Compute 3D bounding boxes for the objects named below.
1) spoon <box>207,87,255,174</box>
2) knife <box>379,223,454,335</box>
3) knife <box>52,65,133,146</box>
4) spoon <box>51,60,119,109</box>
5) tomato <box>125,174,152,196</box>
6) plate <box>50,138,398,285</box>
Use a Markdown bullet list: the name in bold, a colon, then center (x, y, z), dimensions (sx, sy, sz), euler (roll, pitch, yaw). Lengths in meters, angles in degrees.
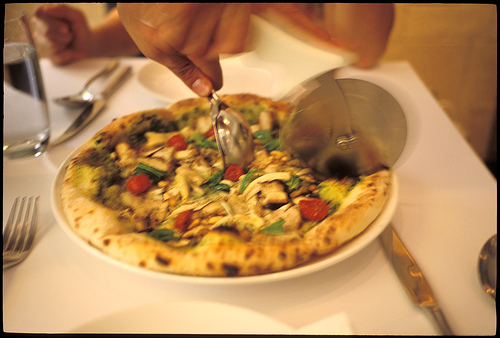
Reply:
- **spoon**: center (-0.053, -0.066, 0.823), dimensions (0.064, 0.225, 0.033), euler (-22, -2, -39)
- **knife**: center (0.271, 0.158, 0.643), dimensions (0.038, 0.013, 0.271), euler (-21, 42, 9)
- **knife**: center (-0.401, -0.173, 1.017), dimensions (0.049, 0.016, 0.328), euler (17, 42, 12)
- **spoon**: center (-0.446, -0.267, 1.099), dimensions (0.060, 0.052, 0.286), euler (6, 40, 19)
- **tomato**: center (-0.214, 0.031, 0.739), dimensions (0.044, 0.033, 0.024), euler (-32, -13, -15)
- **plate**: center (-0.065, 0.065, 0.660), dimensions (0.640, 0.195, 0.251), euler (-8, 28, 14)
